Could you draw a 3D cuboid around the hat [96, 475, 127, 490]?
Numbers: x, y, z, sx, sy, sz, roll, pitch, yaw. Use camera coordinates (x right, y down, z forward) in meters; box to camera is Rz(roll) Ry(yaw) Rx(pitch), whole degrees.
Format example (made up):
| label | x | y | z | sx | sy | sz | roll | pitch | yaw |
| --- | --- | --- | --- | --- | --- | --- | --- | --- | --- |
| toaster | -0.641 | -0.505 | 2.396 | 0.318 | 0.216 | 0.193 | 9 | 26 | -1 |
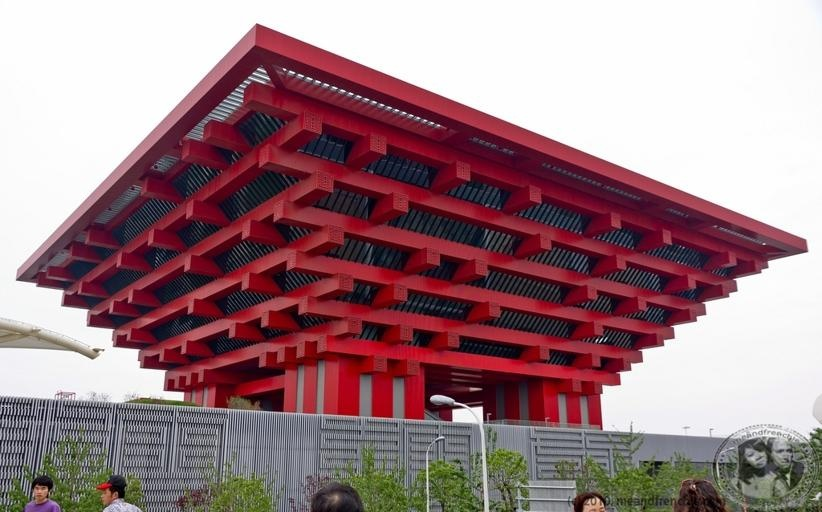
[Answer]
| label | x | y | z | sx | sy | sz | roll | pitch | yaw |
| --- | --- | --- | --- | --- | --- | --- | --- | --- | --- |
| hat | -7.179 | 5.153 | 15.370 | 0.937 | 0.311 | 0.473 | 3 | -22 | -3 |
